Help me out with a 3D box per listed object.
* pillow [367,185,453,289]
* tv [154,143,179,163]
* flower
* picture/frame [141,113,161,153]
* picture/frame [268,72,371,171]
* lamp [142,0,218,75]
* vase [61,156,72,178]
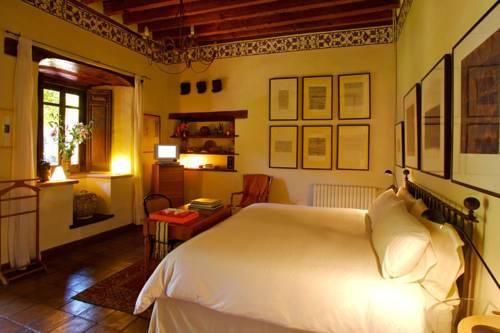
[{"bbox_3d":[1.681,0.750,3.604,0.283,0.293,0.879,20,10,0],"label":"pillow"},{"bbox_3d":[-1.731,-0.294,7.315,0.594,0.539,0.332,0,-3,-11],"label":"tv"},{"bbox_3d":[-3.547,-0.513,6.716,0.845,1.092,0.900,0,4,-15],"label":"flower"},{"bbox_3d":[-2.123,-0.718,7.462,0.074,1.005,0.858,3,2,22],"label":"picture/frame"},{"bbox_3d":[1.446,-0.899,6.809,1.789,1.825,0.037,1,0,10],"label":"picture/frame"},{"bbox_3d":[-1.187,-2.298,7.102,1.616,1.865,1.488,-6,19,-20],"label":"lamp"},{"bbox_3d":[-3.300,-0.001,6.296,0.139,0.330,0.305,-9,18,-33],"label":"vase"}]
